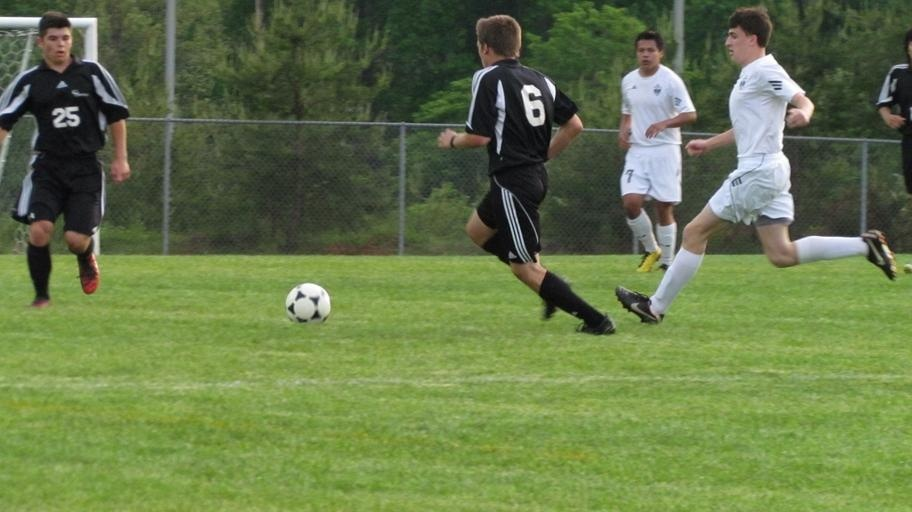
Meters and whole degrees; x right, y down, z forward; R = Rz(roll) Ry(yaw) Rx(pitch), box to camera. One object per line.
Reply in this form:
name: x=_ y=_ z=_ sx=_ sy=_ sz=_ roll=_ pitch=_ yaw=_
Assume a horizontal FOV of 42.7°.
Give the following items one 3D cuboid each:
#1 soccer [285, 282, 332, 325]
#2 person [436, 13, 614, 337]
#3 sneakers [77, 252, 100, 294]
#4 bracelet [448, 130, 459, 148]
soccer: x=-1.507 y=0.491 z=12.183 sx=0.555 sy=0.372 sz=0.459 roll=2 pitch=-4 yaw=-6
person: x=0.645 y=-0.824 z=11.632 sx=1.492 sy=3.180 sz=0.490 roll=-1 pitch=3 yaw=-1
sneakers: x=-4.094 y=0.184 z=12.937 sx=0.240 sy=0.478 sz=0.228 roll=-12 pitch=20 yaw=-11
bracelet: x=-0.036 y=-1.154 z=11.492 sx=0.084 sy=0.125 sz=0.132 roll=10 pitch=-16 yaw=-14
